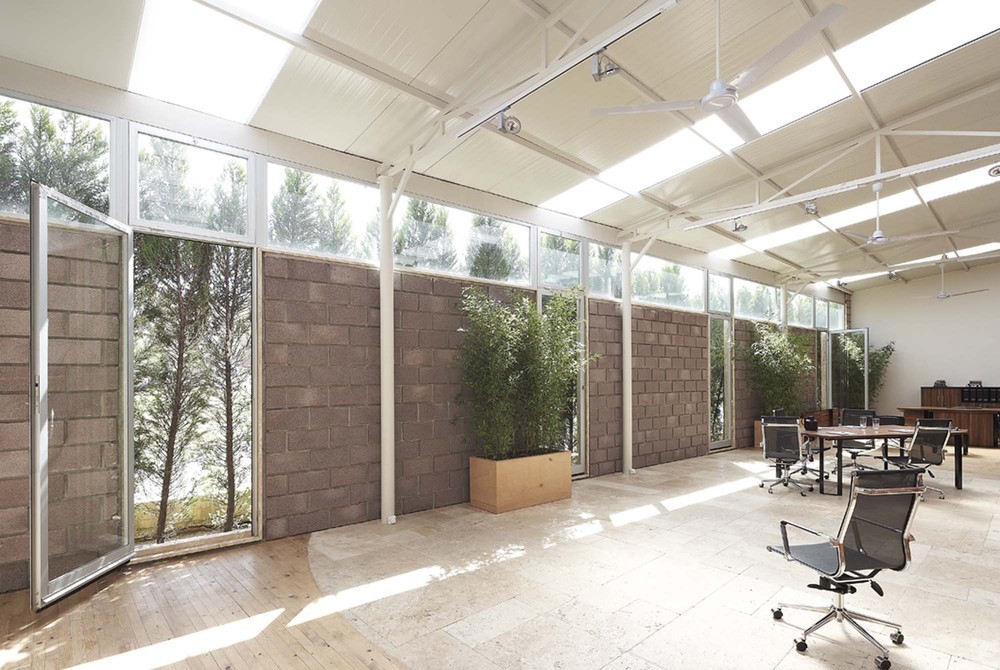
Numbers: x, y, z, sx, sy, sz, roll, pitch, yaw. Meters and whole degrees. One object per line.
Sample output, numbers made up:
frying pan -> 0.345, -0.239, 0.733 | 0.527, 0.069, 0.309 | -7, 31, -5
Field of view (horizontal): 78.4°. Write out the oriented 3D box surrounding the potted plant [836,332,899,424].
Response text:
potted plant -> 9.770, 0.947, 16.580 | 1.427, 2.443, 3.183 | 6, 11, 33

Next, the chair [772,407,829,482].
chair -> 4.992, 1.918, 9.916 | 0.539, 0.728, 0.549 | 4, -14, 32

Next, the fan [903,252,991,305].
fan -> 11.692, -1.310, 15.959 | 1.598, 1.047, 1.052 | -4, 10, -25

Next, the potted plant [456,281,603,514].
potted plant -> 0.216, 0.881, 8.678 | 1.620, 3.015, 1.301 | -1, 10, -7

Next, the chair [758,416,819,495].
chair -> 4.430, 1.843, 9.424 | 0.790, 1.047, 0.802 | -4, -14, 30

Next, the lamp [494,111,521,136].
lamp -> 0.158, -2.483, 7.210 | 0.281, 0.092, 0.394 | -12, -22, 23

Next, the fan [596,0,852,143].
fan -> 2.524, -3.053, 7.020 | 1.156, 1.065, 1.027 | 26, -44, -25

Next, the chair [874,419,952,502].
chair -> 6.271, 1.934, 9.500 | 0.650, 0.631, 0.831 | 27, -19, -27

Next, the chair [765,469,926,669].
chair -> 3.122, 1.930, 5.462 | 1.074, 1.615, 0.920 | -7, 12, -39

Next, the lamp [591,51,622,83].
lamp -> 1.183, -2.970, 6.788 | 0.374, 0.127, 0.365 | -45, -11, 36
